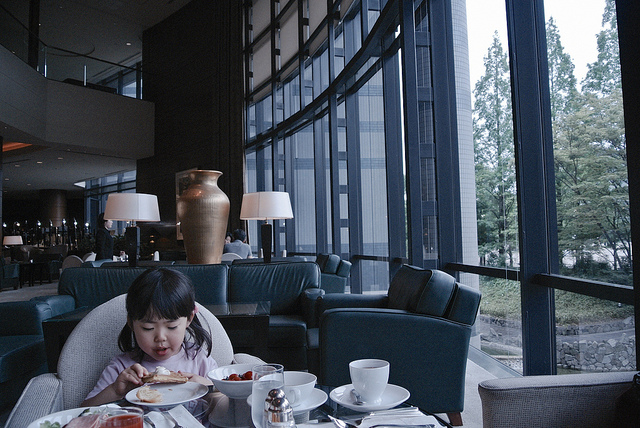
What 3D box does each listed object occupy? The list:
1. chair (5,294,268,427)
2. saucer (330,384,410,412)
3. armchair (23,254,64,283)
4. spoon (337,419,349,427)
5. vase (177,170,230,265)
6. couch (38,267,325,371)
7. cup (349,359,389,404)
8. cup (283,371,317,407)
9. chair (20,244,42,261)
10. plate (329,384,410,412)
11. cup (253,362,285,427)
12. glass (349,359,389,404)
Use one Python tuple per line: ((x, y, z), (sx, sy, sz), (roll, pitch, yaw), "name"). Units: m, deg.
((-0.912, 0.570, 2.491), (0.820, 0.825, 0.669), (2, -19, -17), "chair")
((0.202, 0.741, 1.950), (0.281, 0.074, 0.324), (5, -7, -16), "saucer")
((-6.133, 1.084, 10.937), (0.863, 0.519, 0.698), (0, 1, -28), "armchair")
((0.088, 0.796, 1.855), (0.052, 0.011, 0.028), (-1, 0, 41), "spoon")
((-0.961, 0.036, 4.037), (0.402, 0.784, 0.281), (-1, 1, -16), "vase")
((-1.033, 0.885, 3.867), (2.053, 0.909, 0.720), (1, -3, -12), "couch")
((0.194, 0.652, 1.953), (0.163, 0.161, 0.200), (0, -4, -4), "cup")
((-0.081, 0.656, 1.860), (0.104, 0.075, 0.151), (2, 5, 2), "cup")
((-7.106, 0.916, 11.929), (0.387, 0.352, 0.432), (3, 5, 17), "chair")
((0.197, 0.728, 1.995), (0.282, 0.074, 0.326), (6, -7, -16), "plate")
((-0.193, 0.666, 1.829), (0.112, 0.192, 0.213), (-1, 0, -8), "cup")
((0.197, 0.661, 1.935), (0.129, 0.159, 0.170), (2, -3, -7), "glass")
